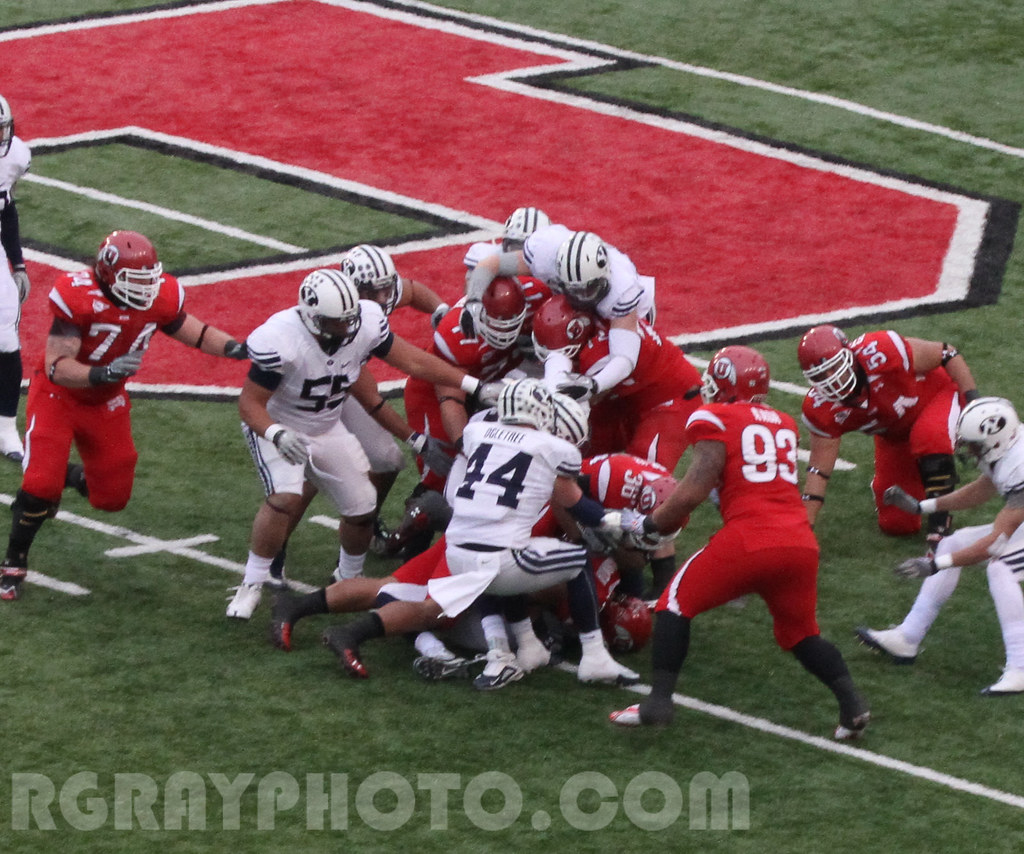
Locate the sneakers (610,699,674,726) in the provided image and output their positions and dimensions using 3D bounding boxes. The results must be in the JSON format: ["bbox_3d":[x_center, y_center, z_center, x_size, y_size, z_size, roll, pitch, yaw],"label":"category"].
[{"bbox_3d":[0.650,1.413,7.751,0.313,0.101,0.116,2,3,5],"label":"sneakers"}]

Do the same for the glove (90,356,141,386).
[{"bbox_3d":[-2.145,-0.305,8.540,0.213,0.050,0.196,-13,18,-26],"label":"glove"}]

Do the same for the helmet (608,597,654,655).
[{"bbox_3d":[0.627,1.082,8.438,0.286,0.269,0.294,7,40,-1],"label":"helmet"}]

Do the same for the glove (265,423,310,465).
[{"bbox_3d":[-1.208,0.121,8.478,0.256,0.234,0.132,12,29,5],"label":"glove"}]

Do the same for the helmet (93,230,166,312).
[{"bbox_3d":[-2.119,-0.846,8.702,0.369,0.460,0.272,2,30,-14],"label":"helmet"}]

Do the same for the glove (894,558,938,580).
[{"bbox_3d":[2.094,0.739,8.100,0.245,0.091,0.067,-7,-24,31],"label":"glove"}]

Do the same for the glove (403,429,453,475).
[{"bbox_3d":[-0.475,0.148,9.163,0.329,0.130,0.089,34,3,23],"label":"glove"}]

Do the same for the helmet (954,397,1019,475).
[{"bbox_3d":[2.459,0.047,8.139,0.289,0.378,0.232,17,30,13],"label":"helmet"}]

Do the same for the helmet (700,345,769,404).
[{"bbox_3d":[1.175,-0.276,8.147,0.288,0.278,0.342,-12,18,-40],"label":"helmet"}]
